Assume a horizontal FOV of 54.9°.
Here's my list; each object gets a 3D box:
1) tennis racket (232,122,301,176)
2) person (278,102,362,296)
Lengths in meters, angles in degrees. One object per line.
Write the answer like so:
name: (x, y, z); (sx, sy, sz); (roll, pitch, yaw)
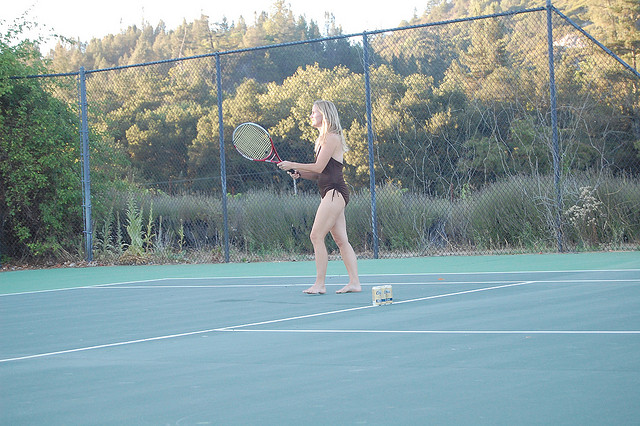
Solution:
tennis racket: (-0.874, -0.952, 8.532); (1.496, 0.431, 0.119); (36, 0, 37)
person: (0.057, -0.196, 7.444); (0.812, 2.287, 0.787); (-2, 2, 8)
